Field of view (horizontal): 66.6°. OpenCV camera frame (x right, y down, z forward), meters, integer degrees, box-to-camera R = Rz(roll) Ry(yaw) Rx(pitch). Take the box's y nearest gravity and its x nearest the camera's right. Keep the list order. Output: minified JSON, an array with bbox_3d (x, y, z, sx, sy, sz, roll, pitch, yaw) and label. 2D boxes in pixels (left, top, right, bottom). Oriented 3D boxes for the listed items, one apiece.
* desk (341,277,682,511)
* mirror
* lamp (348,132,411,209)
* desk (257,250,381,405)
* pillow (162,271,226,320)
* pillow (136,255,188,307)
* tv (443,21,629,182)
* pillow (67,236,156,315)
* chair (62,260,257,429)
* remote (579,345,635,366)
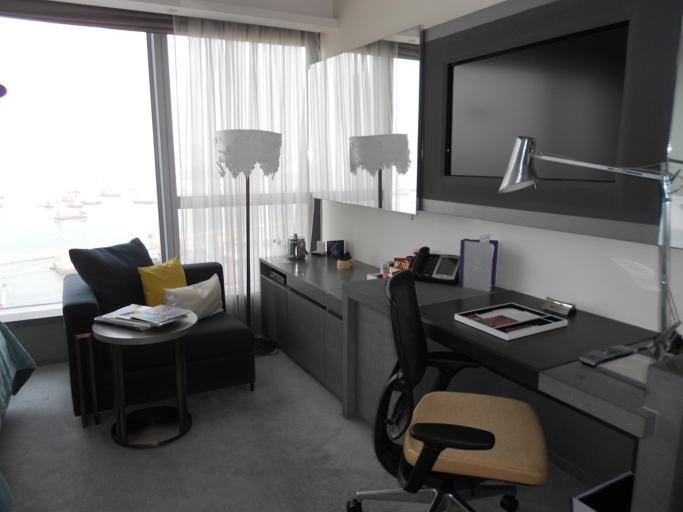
[{"bbox_3d":[0.713,0.753,2.643,1.279,1.301,1.146,0,12,1],"label":"desk"},{"bbox_3d":[0.187,-1.037,3.891,0.021,1.143,1.540,-4,11,-28],"label":"mirror"},{"bbox_3d":[0.291,-0.622,3.875,0.485,0.655,0.527,0,9,6],"label":"lamp"},{"bbox_3d":[-0.159,0.439,4.303,0.636,0.672,1.381,-1,12,-30],"label":"desk"},{"bbox_3d":[-1.078,0.329,3.911,0.442,0.277,0.142,-15,19,-42],"label":"pillow"},{"bbox_3d":[-1.312,0.204,3.929,0.356,0.346,0.133,-16,-5,-42],"label":"pillow"},{"bbox_3d":[1.034,-0.812,2.689,0.026,0.660,1.016,-6,10,-30],"label":"tv"},{"bbox_3d":[-1.623,0.192,3.905,0.341,0.597,0.680,-5,9,22],"label":"pillow"},{"bbox_3d":[-1.328,0.577,3.853,1.307,0.872,1.052,-8,13,-39],"label":"chair"},{"bbox_3d":[1.128,0.385,2.220,0.225,0.046,0.097,-11,16,-26],"label":"remote"}]
